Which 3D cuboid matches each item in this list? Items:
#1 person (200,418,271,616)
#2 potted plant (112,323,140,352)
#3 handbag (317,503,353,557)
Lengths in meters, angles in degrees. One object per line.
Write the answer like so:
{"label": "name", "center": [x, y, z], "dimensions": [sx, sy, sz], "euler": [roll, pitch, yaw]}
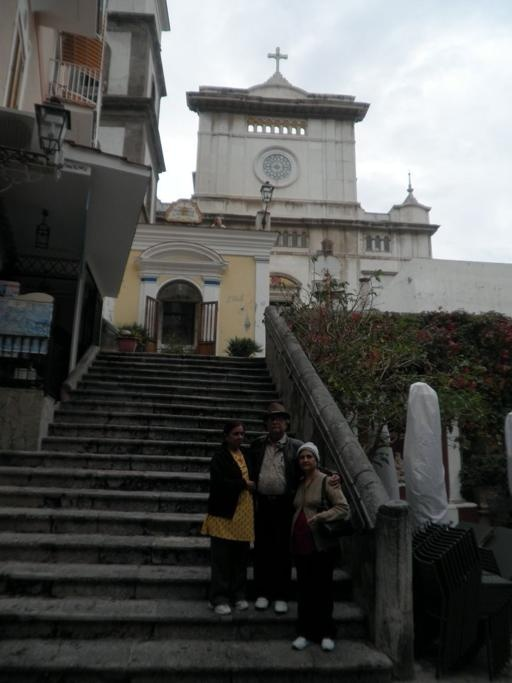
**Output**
{"label": "person", "center": [-0.168, 1.207, 3.935], "dimensions": [0.383, 1.318, 0.462], "euler": [2, 0, -16]}
{"label": "potted plant", "center": [-3.069, -0.025, 12.967], "dimensions": [0.602, 0.625, 1.029], "euler": [0, -13, -5]}
{"label": "handbag", "center": [0.520, 1.286, 3.677], "dimensions": [0.222, 0.328, 0.142], "euler": [2, 0, -4]}
